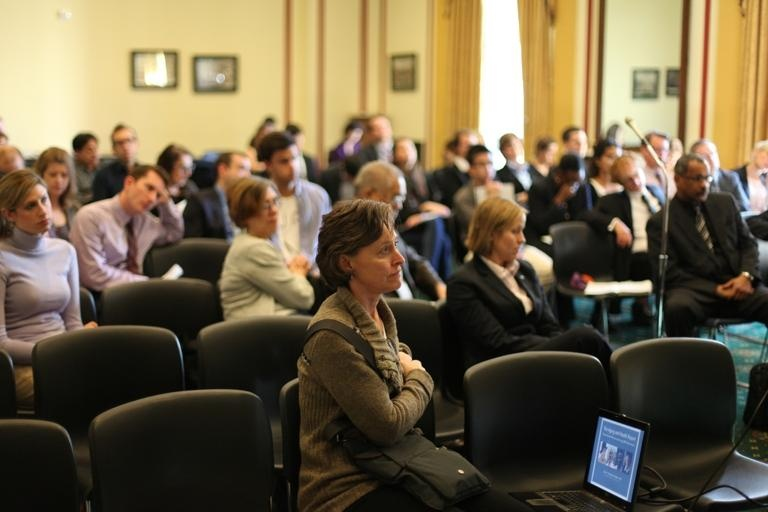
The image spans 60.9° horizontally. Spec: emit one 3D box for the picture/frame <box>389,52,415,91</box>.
[{"bbox_3d":[0.314,-2.944,10.421,0.571,0.761,0.101,1,3,31],"label":"picture/frame"}]

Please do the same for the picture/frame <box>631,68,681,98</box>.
[{"bbox_3d":[3.789,-2.399,9.101,0.605,0.453,0.107,3,10,27],"label":"picture/frame"}]

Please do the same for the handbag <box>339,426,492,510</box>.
[{"bbox_3d":[0.136,0.757,2.479,0.438,0.156,0.341,27,9,22],"label":"handbag"}]

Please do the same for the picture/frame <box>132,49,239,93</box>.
[{"bbox_3d":[-3.118,-2.877,10.200,1.656,0.638,0.071,-2,9,-4],"label":"picture/frame"}]
